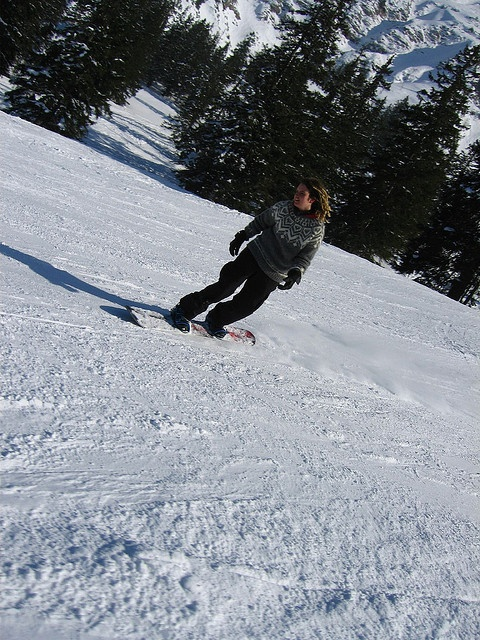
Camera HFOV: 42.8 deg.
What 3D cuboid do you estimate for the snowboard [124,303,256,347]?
[{"bbox_3d":[-0.322,0.070,5.104,1.472,0.157,0.319,5,43,-43],"label":"snowboard"}]

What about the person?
[{"bbox_3d":[0.118,-0.469,4.875,0.822,1.088,0.512,26,11,12],"label":"person"}]

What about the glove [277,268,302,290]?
[{"bbox_3d":[0.411,-0.291,4.611,0.056,0.191,0.140,53,-7,-33],"label":"glove"}]
